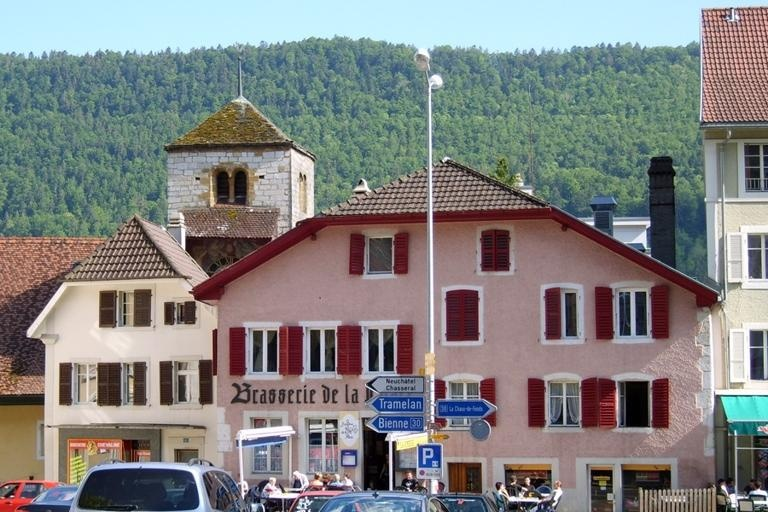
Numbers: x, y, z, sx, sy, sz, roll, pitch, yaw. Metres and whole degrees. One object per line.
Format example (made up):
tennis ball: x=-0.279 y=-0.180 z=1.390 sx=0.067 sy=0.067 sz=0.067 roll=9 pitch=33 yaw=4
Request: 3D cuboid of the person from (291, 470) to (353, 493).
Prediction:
person: x=-3.398 y=13.722 z=129.832 sx=2.310 sy=1.095 sz=1.569 roll=3 pitch=-5 yaw=5
